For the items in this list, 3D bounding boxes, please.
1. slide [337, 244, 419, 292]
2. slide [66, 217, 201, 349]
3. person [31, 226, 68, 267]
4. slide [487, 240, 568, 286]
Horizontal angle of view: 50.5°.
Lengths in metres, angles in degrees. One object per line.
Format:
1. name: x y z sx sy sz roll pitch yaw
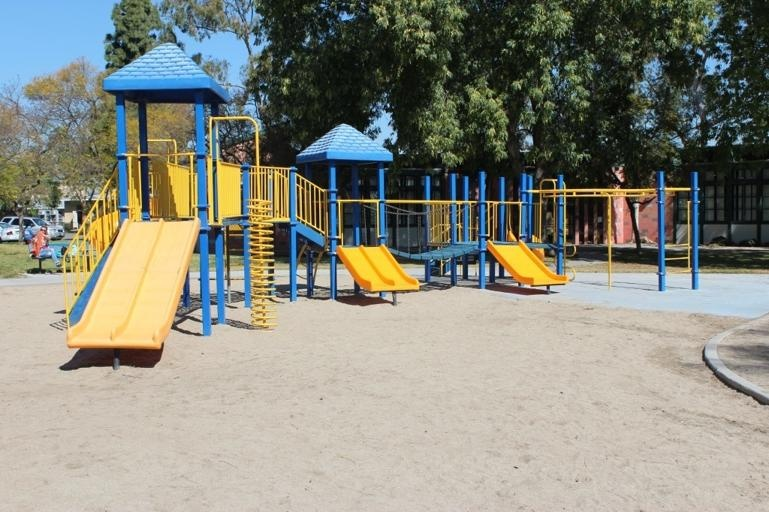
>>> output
1. slide: -0.192 0.425 20.432 1.098 0.744 1.864 -1 48 -17
2. slide: -4.661 0.458 15.381 1.718 1.723 2.711 1 13 3
3. person: -11.717 -0.269 28.251 0.967 1.561 0.637 -5 -8 -15
4. slide: 3.801 0.219 22.068 1.294 0.903 2.213 -4 14 -21
